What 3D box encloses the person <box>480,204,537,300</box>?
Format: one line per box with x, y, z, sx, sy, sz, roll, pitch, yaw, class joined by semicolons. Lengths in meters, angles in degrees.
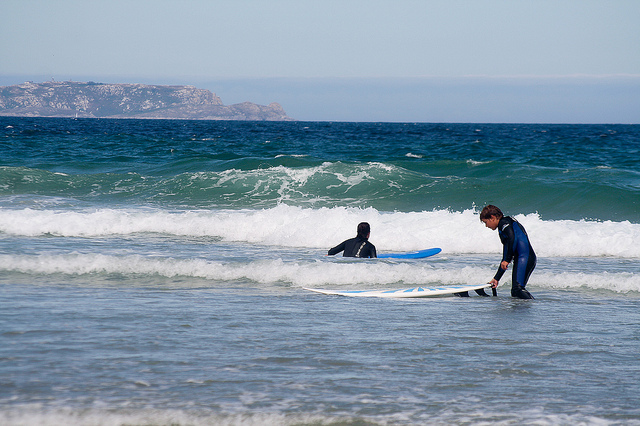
4.150;0.853;21.285;1.186;2.032;0.868;4;15;17;person

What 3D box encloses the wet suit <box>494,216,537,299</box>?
4.287;0.968;21.254;0.790;1.776;0.474;1;15;5;wet suit

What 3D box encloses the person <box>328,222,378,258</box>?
0.855;0.666;23.991;1.083;0.827;0.392;0;14;2;person
